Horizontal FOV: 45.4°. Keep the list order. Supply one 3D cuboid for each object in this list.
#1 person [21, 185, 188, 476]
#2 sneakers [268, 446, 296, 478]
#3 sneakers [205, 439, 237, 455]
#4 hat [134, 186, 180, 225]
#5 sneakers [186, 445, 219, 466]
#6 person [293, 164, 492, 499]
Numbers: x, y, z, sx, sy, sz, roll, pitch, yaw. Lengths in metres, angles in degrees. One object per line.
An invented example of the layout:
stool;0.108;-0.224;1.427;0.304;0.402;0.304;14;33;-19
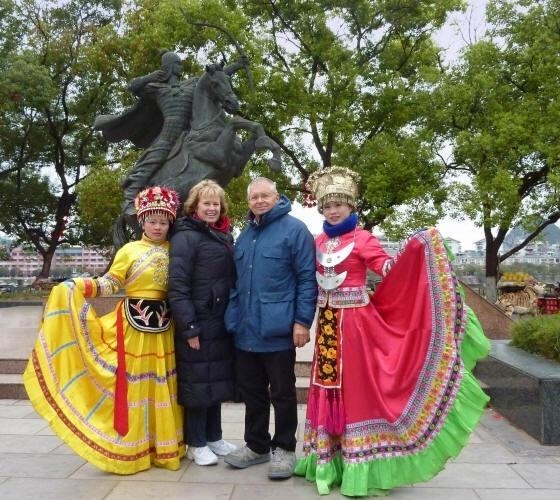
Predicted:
person;-1.428;0.646;5.442;1.228;2.219;0.935;-2;14;-11
sneakers;0.022;1.704;5.359;0.218;0.208;0.212;1;13;1
sneakers;-0.501;1.680;5.712;0.268;0.101;0.099;2;1;-5
hat;-1.044;-0.386;5.647;0.352;0.267;0.292;-4;-8;2
sneakers;-0.645;1.707;5.559;0.254;0.096;0.115;-2;-5;32
person;0.844;0.624;5.209;1.497;2.423;0.972;6;15;22
